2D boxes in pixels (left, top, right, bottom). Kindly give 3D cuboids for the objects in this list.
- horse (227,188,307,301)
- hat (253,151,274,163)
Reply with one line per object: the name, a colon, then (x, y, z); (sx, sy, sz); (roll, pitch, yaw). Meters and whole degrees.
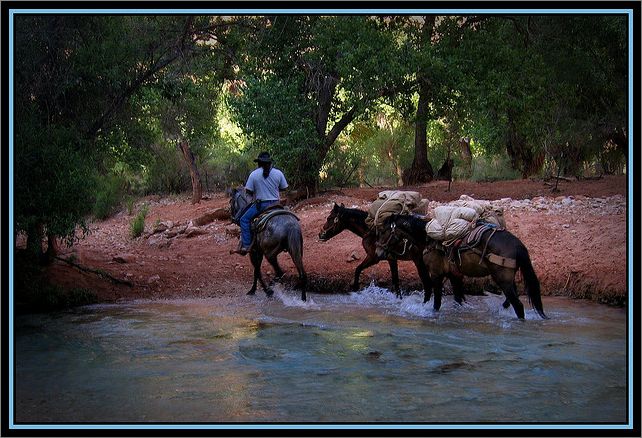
horse: (-1.779, 0.806, 15.929); (1.157, 3.519, 4.135); (-5, 7, -35)
hat: (-1.705, -1.828, 14.979); (0.418, 0.304, 0.594); (-5, 15, -15)
